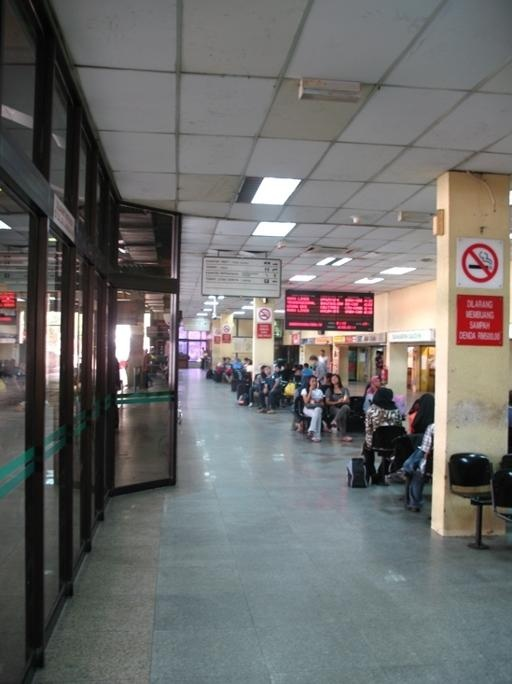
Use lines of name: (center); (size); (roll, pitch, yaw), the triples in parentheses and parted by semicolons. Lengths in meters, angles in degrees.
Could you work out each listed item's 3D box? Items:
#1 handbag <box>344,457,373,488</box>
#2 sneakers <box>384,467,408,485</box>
handbag: (1.173, 1.468, 6.482); (0.280, 0.316, 0.285); (2, -2, -4)
sneakers: (1.641, 1.570, 6.727); (0.163, 0.215, 0.537); (0, -16, 11)
